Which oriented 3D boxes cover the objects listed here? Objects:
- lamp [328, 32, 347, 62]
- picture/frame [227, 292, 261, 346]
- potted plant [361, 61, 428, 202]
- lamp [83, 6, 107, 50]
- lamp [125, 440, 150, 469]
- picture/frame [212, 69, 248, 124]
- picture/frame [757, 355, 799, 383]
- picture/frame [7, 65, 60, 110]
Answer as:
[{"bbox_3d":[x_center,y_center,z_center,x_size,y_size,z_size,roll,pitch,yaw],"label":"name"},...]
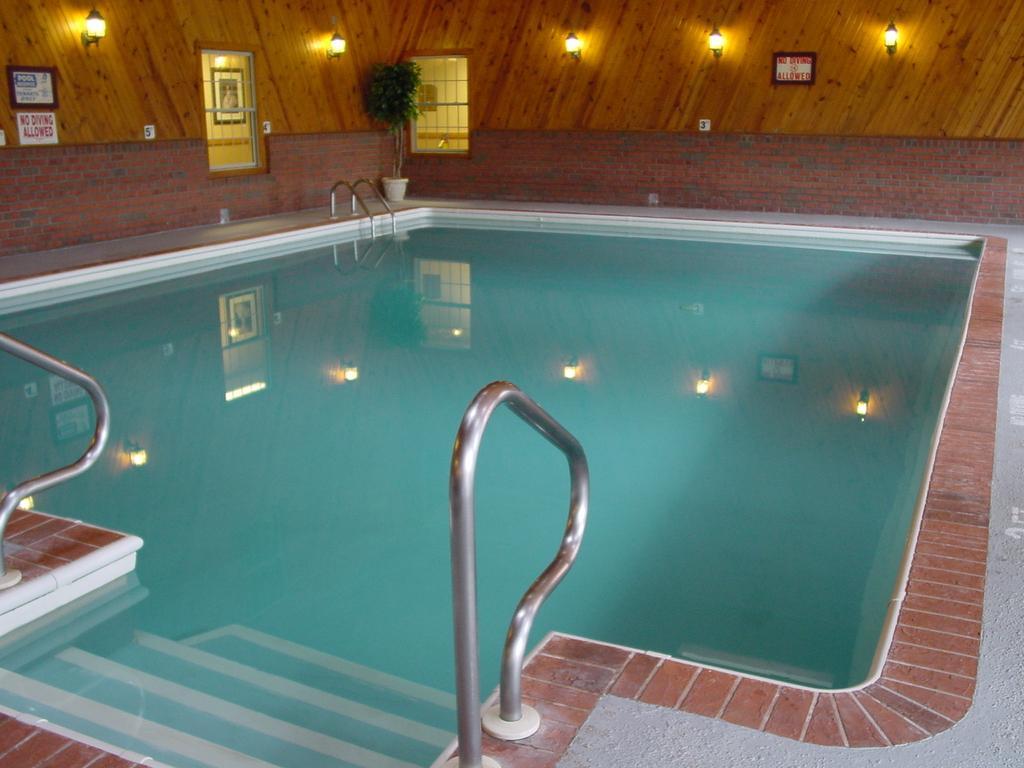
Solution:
[{"bbox_3d":[-3.420,-6.659,12.605,0.334,0.547,0.357,4,16,20],"label":"lamp"},{"bbox_3d":[-3.010,-0.726,7.138,0.354,0.056,0.715,-10,55,-16],"label":"picture/frame"},{"bbox_3d":[-2.500,-5.649,13.736,1.112,2.733,1.032,3,8,19],"label":"potted plant"},{"bbox_3d":[-5.792,-4.937,8.876,0.188,0.505,0.350,5,9,32],"label":"lamp"},{"bbox_3d":[-2.533,0.485,4.298,0.089,0.189,0.096,3,12,17],"label":"lamp"},{"bbox_3d":[-5.036,-5.127,11.320,0.700,1.146,0.103,-11,26,-33],"label":"picture/frame"},{"bbox_3d":[2.379,-0.121,5.708,0.410,0.048,0.452,-4,21,-7],"label":"picture/frame"},{"bbox_3d":[-6.263,-3.845,8.292,0.072,0.471,0.597,-1,21,21],"label":"picture/frame"}]
